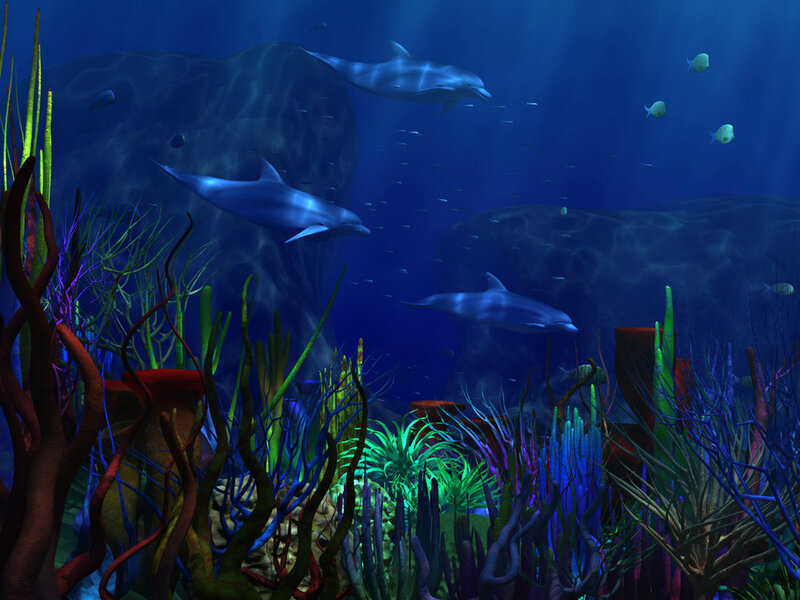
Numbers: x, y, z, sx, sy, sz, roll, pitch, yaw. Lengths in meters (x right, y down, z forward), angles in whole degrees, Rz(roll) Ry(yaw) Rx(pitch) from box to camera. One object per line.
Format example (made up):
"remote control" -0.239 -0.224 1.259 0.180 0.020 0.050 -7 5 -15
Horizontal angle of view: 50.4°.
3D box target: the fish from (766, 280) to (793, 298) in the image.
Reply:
"fish" 5.258 -0.147 11.895 0.195 0.175 0.605 -11 -10 10
